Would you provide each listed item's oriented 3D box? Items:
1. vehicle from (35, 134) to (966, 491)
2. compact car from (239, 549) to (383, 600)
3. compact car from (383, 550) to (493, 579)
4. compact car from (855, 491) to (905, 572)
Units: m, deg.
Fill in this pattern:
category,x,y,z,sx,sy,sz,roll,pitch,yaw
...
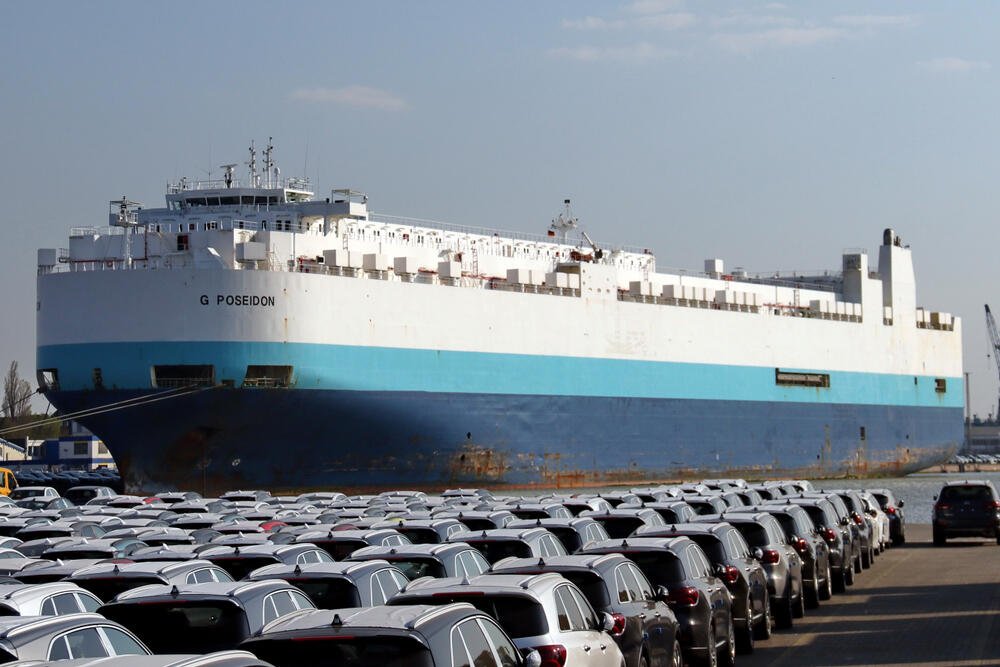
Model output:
category,x,y,z,sx,sy,sz,roll,pitch,yaw
vehicle,3.420,0.210,81.042,13.760,13.483,58.022,0,-3,43
compact car,-3.090,4.239,28.487,1.855,0.661,1.099,1,-3,-4
compact car,-1.054,4.143,30.180,1.304,0.410,0.693,-5,15,-32
compact car,10.804,5.318,47.242,1.217,1.065,2.613,-1,3,16
